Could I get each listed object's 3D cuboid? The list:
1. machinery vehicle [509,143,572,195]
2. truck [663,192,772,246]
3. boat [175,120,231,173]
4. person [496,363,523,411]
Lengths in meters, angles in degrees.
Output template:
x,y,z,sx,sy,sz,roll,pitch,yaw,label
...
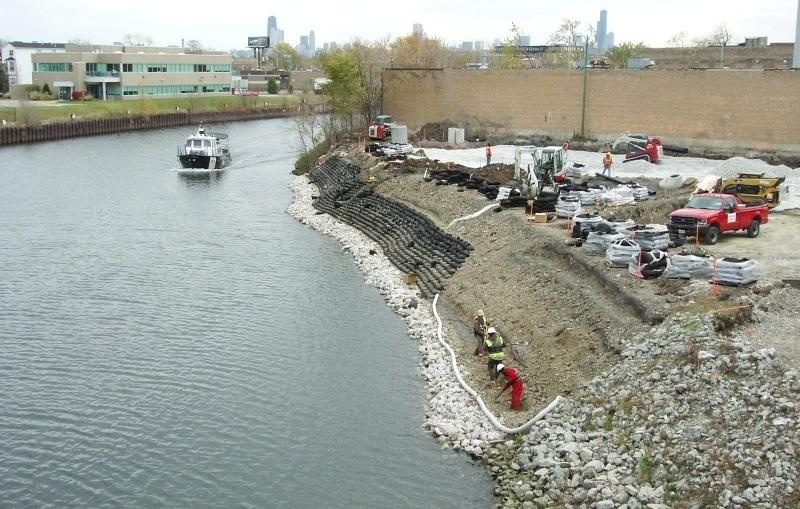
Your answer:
x,y,z,sx,sy,sz,roll,pitch,yaw,label
8.850,-5.408,42.233,3.126,2.690,5.439,9,15,30,machinery vehicle
15.582,-1.771,33.767,4.730,1.807,2.519,-4,5,-37,truck
-20.407,-11.320,72.396,4.750,4.528,11.046,-1,8,-2,boat
4.125,4.725,25.607,0.878,1.430,1.701,-5,19,-15,person
